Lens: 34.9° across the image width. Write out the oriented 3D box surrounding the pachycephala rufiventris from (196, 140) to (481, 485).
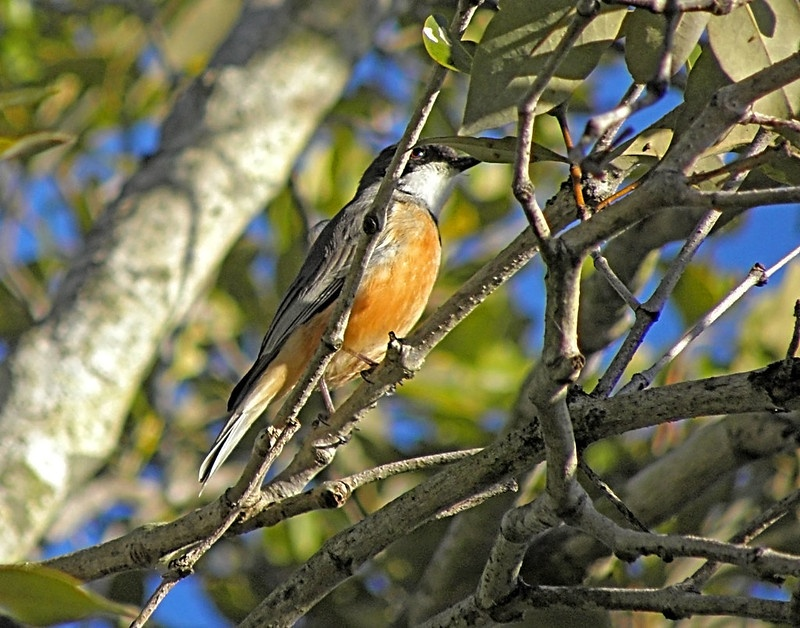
[{"bbox_3d":[-0.235,-0.095,6.274,1.211,2.179,0.809,-4,-28,3],"label":"pachycephala rufiventris"}]
